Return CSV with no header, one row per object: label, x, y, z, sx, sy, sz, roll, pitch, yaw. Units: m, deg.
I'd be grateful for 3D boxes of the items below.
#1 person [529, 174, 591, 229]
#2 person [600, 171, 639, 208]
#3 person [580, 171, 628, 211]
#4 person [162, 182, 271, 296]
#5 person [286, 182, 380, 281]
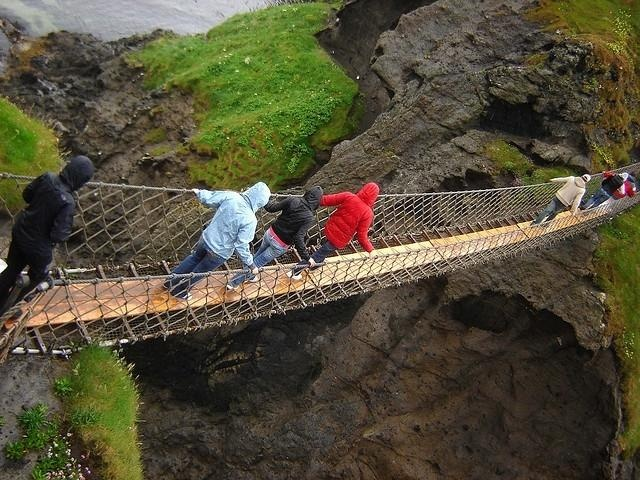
person,5.329,-0.794,14.602,0.416,1.116,0.614,-28,85,-50
person,6.714,-1.117,14.780,0.510,0.977,0.324,44,74,-6
person,6.377,-1.065,14.719,0.315,0.870,0.499,-32,89,-23
person,-2.063,0.069,13.003,0.676,2.063,1.453,1,59,-63
person,0.262,-0.074,13.007,1.067,2.047,0.959,7,58,-54
